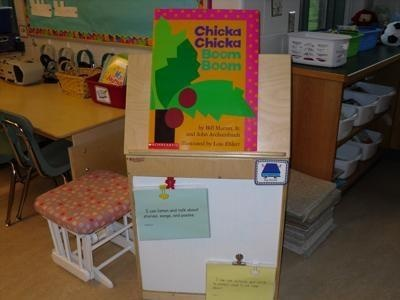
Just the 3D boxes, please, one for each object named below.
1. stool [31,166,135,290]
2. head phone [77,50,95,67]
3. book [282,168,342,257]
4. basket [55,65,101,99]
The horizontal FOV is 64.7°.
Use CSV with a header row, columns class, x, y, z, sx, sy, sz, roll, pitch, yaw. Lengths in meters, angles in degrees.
class,x,y,z,sx,sy,sz,roll,pitch,yaw
stool,-0.711,0.507,2.038,0.560,0.523,0.598,-11,29,-18
head phone,-1.135,-0.916,3.143,0.172,0.153,0.059,16,24,31
book,0.763,0.451,2.232,0.365,0.357,0.470,13,31,25
basket,-1.032,-0.595,2.704,0.281,0.182,0.360,7,20,15
